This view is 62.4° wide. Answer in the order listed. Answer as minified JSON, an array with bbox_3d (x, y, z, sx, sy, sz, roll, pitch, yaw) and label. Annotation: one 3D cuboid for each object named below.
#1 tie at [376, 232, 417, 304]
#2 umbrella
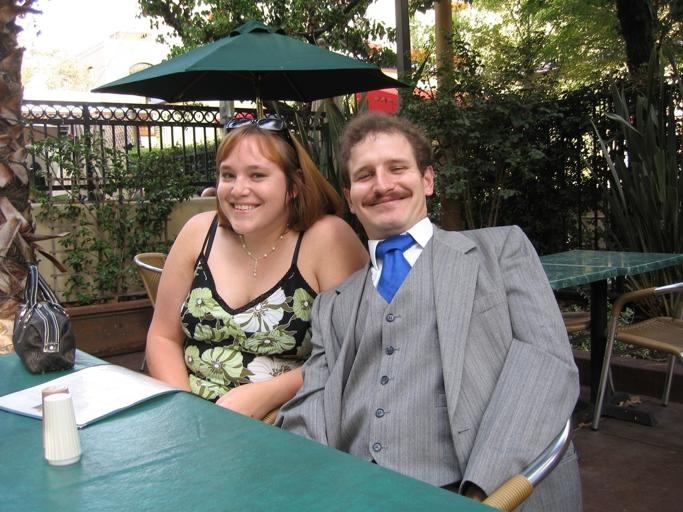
[{"bbox_3d":[0.196,0.038,2.080,0.153,0.073,0.235,-28,32,18],"label":"tie"},{"bbox_3d":[-0.692,-1.436,4.433,1.305,0.542,1.360,0,11,21],"label":"umbrella"}]
